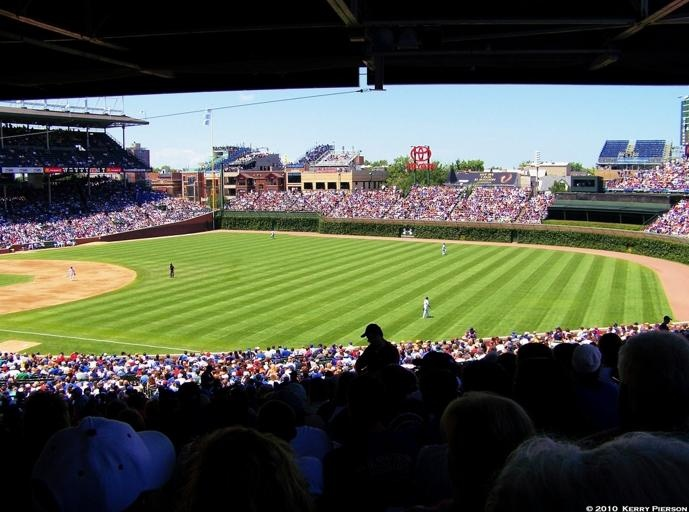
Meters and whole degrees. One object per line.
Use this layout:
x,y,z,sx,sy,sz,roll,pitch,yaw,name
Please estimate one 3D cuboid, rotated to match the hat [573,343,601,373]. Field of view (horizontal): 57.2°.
2.443,1.005,6.327,0.230,0.214,0.306,-2,-2,16,hat
